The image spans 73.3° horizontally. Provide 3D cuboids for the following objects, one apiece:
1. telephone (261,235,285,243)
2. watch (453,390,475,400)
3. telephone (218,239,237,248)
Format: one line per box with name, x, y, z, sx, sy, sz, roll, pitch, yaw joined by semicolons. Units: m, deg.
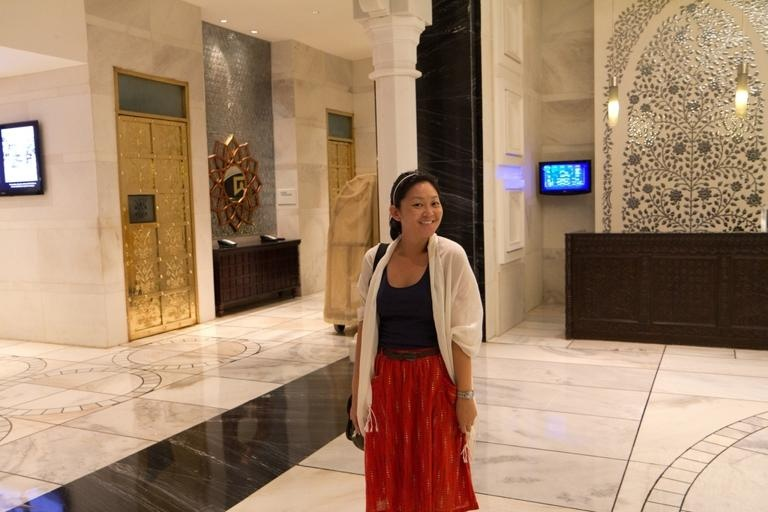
telephone;-2.115;-0.337;9.923;0.459;0.132;0.577;0;6;23
watch;0.428;0.741;2.762;0.077;0.052;0.079;-11;-14;44
telephone;-2.737;-0.214;8.967;0.241;0.082;0.181;4;6;23
